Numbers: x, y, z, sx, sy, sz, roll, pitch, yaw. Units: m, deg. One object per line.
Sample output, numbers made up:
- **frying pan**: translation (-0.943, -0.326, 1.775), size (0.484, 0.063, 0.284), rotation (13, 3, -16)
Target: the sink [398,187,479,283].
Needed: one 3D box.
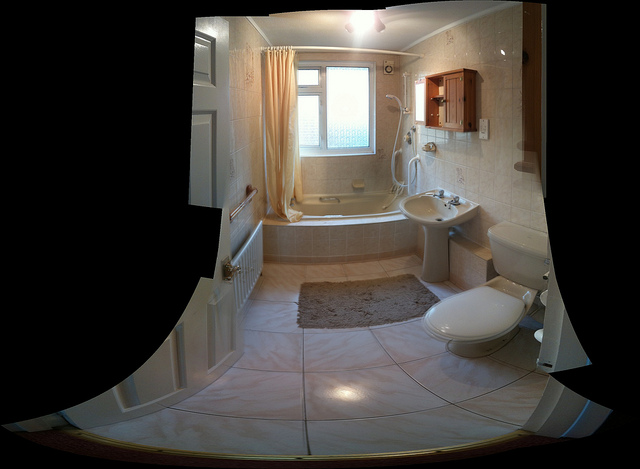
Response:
- **sink**: translation (0.583, -0.005, 2.346), size (0.312, 0.450, 0.389), rotation (1, 13, -9)

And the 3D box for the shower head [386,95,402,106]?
- **shower head**: translation (0.544, -0.986, 3.290), size (0.119, 0.078, 0.040), rotation (3, 13, 13)

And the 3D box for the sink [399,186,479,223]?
- **sink**: translation (0.589, -0.153, 2.373), size (0.305, 0.131, 0.511), rotation (-1, 13, -6)
